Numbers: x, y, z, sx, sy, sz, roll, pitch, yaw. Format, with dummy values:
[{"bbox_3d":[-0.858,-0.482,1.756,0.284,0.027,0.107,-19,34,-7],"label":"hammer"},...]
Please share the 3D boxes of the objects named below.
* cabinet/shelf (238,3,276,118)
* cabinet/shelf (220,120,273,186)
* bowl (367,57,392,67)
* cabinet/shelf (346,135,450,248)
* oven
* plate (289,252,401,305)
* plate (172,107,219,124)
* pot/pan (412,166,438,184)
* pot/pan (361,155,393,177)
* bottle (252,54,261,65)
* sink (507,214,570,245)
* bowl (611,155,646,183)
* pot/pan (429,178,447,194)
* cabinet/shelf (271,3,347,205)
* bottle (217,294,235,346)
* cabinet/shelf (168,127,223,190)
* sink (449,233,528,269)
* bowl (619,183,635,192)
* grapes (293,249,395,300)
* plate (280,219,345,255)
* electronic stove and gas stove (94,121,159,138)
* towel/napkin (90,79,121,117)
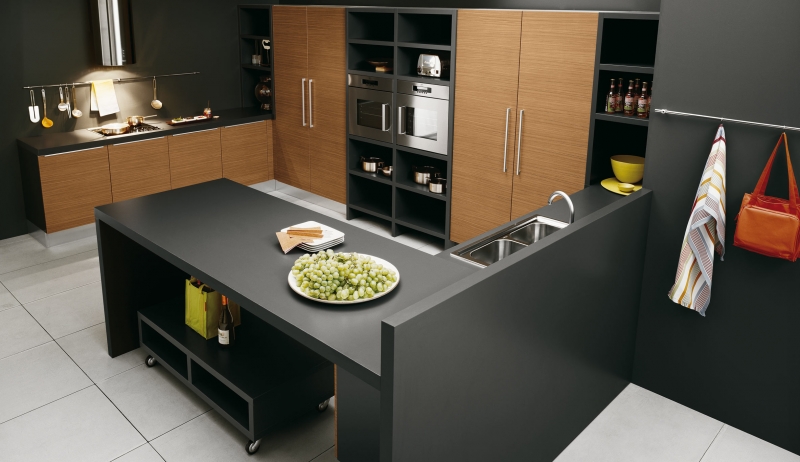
[{"bbox_3d":[-1.973,-2.357,6.906,0.494,1.326,0.837,-6,28,-15],"label":"cabinet/shelf"},{"bbox_3d":[-2.194,-1.199,6.889,0.713,0.899,0.514,-16,50,-28],"label":"cabinet/shelf"},{"bbox_3d":[-0.243,-1.936,5.812,0.210,0.049,0.194,0,17,0],"label":"bowl"},{"bbox_3d":[0.008,-0.470,5.688,1.269,0.741,0.343,17,25,40],"label":"cabinet/shelf"},{"bbox_3d":[0.075,-1.377,5.777,1.455,0.725,0.521,19,32,35],"label":"oven"},{"bbox_3d":[-0.263,0.304,3.109,0.519,0.182,0.512,-16,15,-30],"label":"plate"},{"bbox_3d":[-2.653,-1.454,6.511,0.489,0.103,0.260,-13,25,-32],"label":"plate"},{"bbox_3d":[0.278,-0.638,5.723,0.162,0.098,0.268,-14,24,-33],"label":"pot/pan"},{"bbox_3d":[-0.276,-0.777,6.030,0.217,0.134,0.366,-14,26,-36],"label":"pot/pan"},{"bbox_3d":[-1.976,-2.357,6.974,0.113,0.128,0.246,-8,28,-19],"label":"bottle"},{"bbox_3d":[1.009,0.009,3.813,0.365,0.128,0.240,-22,34,-33],"label":"sink"},{"bbox_3d":[1.913,-0.532,4.296,0.291,0.156,0.269,-1,19,0],"label":"bowl"},{"bbox_3d":[0.409,-0.502,5.587,0.126,0.075,0.214,9,14,33],"label":"pot/pan"},{"bbox_3d":[-1.148,-1.605,6.338,0.567,2.209,1.516,-22,35,-37],"label":"cabinet/shelf"},{"bbox_3d":[-1.284,0.609,3.683,0.118,0.428,0.214,-6,29,-15],"label":"bottle"},{"bbox_3d":[-2.779,-0.951,6.462,0.488,0.681,0.766,19,25,27],"label":"cabinet/shelf"},{"bbox_3d":[0.643,0.146,3.680,0.568,0.163,0.249,-22,35,-40],"label":"sink"},{"bbox_3d":[1.894,-0.368,4.242,0.110,0.050,0.121,1,26,-1],"label":"bowl"},{"bbox_3d":[-0.329,0.278,3.062,0.404,0.128,0.384,-8,19,-26],"label":"grapes"},{"bbox_3d":[-0.624,0.046,3.512,0.297,0.060,0.255,-14,25,-36],"label":"plate"},{"bbox_3d":[-3.300,-1.246,6.094,0.644,0.070,0.584,-17,31,-34],"label":"electronic stove and gas stove"},{"bbox_3d":[-3.574,-1.618,6.116,0.158,0.441,0.387,24,32,38],"label":"towel/napkin"}]
